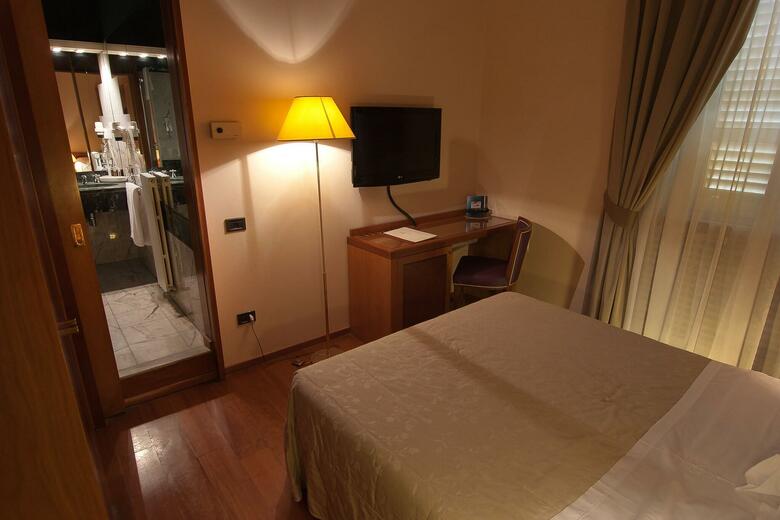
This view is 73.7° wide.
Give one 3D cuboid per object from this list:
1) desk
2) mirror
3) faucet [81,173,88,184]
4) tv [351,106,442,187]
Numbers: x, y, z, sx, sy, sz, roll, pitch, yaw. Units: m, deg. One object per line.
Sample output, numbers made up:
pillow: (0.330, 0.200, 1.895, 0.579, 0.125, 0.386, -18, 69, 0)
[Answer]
desk: (0.272, 0.118, 4.089, 0.923, 0.589, 0.351, -20, 28, -38)
mirror: (-1.795, -0.842, 4.066, 0.064, 1.371, 1.218, -15, 28, -35)
faucet: (-3.194, -0.850, 5.362, 0.078, 0.083, 0.092, -6, 20, -12)
tv: (0.020, -0.950, 4.271, 0.647, 0.488, 0.070, -12, 25, -30)
